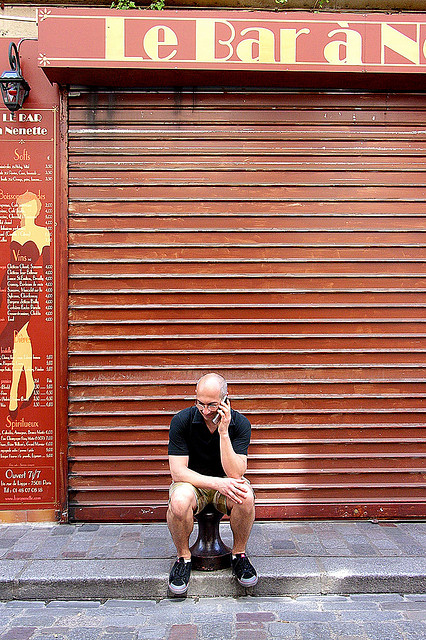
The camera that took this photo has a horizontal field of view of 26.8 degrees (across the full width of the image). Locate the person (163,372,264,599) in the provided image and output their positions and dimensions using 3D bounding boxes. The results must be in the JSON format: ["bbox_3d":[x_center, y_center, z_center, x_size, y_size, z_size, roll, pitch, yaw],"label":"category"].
[{"bbox_3d":[-0.018,1.054,6.261,0.642,1.481,1.109,0,13,-3],"label":"person"}]

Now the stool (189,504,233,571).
[{"bbox_3d":[-0.023,1.476,6.190,0.288,0.413,0.254,0,13,-1],"label":"stool"}]
